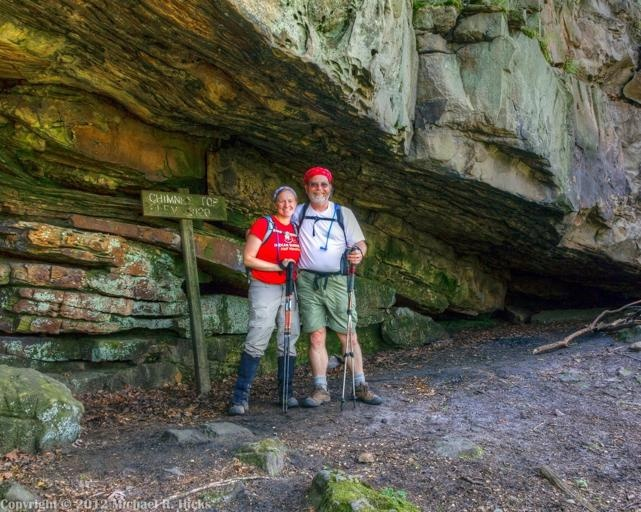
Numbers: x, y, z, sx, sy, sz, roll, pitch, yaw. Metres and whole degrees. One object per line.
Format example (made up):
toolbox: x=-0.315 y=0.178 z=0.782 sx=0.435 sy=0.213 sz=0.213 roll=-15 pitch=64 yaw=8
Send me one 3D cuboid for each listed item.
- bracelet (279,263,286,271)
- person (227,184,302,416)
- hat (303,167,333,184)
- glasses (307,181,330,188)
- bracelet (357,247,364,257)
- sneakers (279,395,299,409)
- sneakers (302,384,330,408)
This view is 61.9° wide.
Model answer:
bracelet: x=-0.395 y=0.102 z=5.618 sx=0.074 sy=0.066 sz=0.072 roll=1 pitch=0 yaw=-20
person: x=-0.545 y=0.464 z=5.655 sx=0.554 sy=2.411 sz=0.883 roll=10 pitch=11 yaw=41
hat: x=-0.004 y=-0.918 z=5.940 sx=0.360 sy=0.134 sz=0.347 roll=13 pitch=2 yaw=12
glasses: x=-0.012 y=-0.788 z=5.796 sx=0.251 sy=0.085 sz=0.137 roll=1 pitch=8 yaw=-5
bracelet: x=0.425 y=-0.064 z=5.763 sx=0.080 sy=0.078 sz=0.062 roll=-16 pitch=-1 yaw=-12
sneakers: x=-0.321 y=1.574 z=5.741 sx=0.089 sy=0.099 sz=0.236 roll=5 pitch=-16 yaw=-24
sneakers: x=-0.042 y=1.519 z=5.812 sx=0.143 sy=0.168 sz=0.391 roll=-4 pitch=-14 yaw=25
